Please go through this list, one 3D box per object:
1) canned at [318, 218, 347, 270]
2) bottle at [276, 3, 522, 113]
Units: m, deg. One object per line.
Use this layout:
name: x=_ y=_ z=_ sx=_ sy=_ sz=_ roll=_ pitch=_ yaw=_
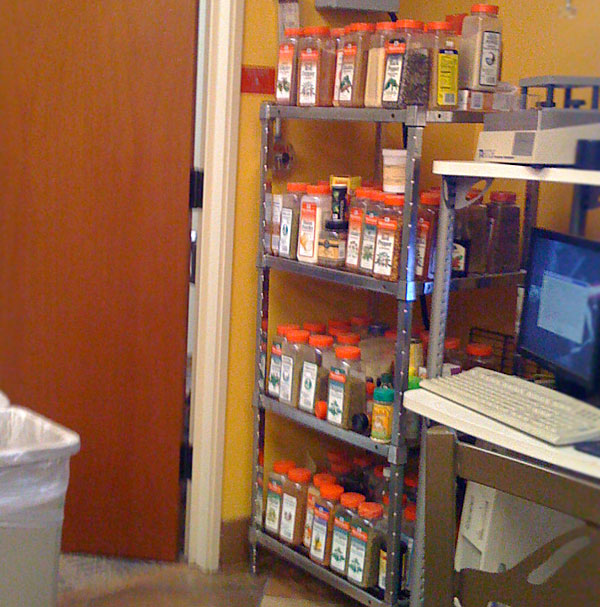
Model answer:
canned: x=0.097 y=-0.177 z=1.753 sx=0.095 sy=0.125 sz=0.101 roll=-1 pitch=13 yaw=-23
bottle: x=0.210 y=-0.623 z=1.629 sx=0.668 sy=0.265 sz=0.269 roll=7 pitch=9 yaw=30
